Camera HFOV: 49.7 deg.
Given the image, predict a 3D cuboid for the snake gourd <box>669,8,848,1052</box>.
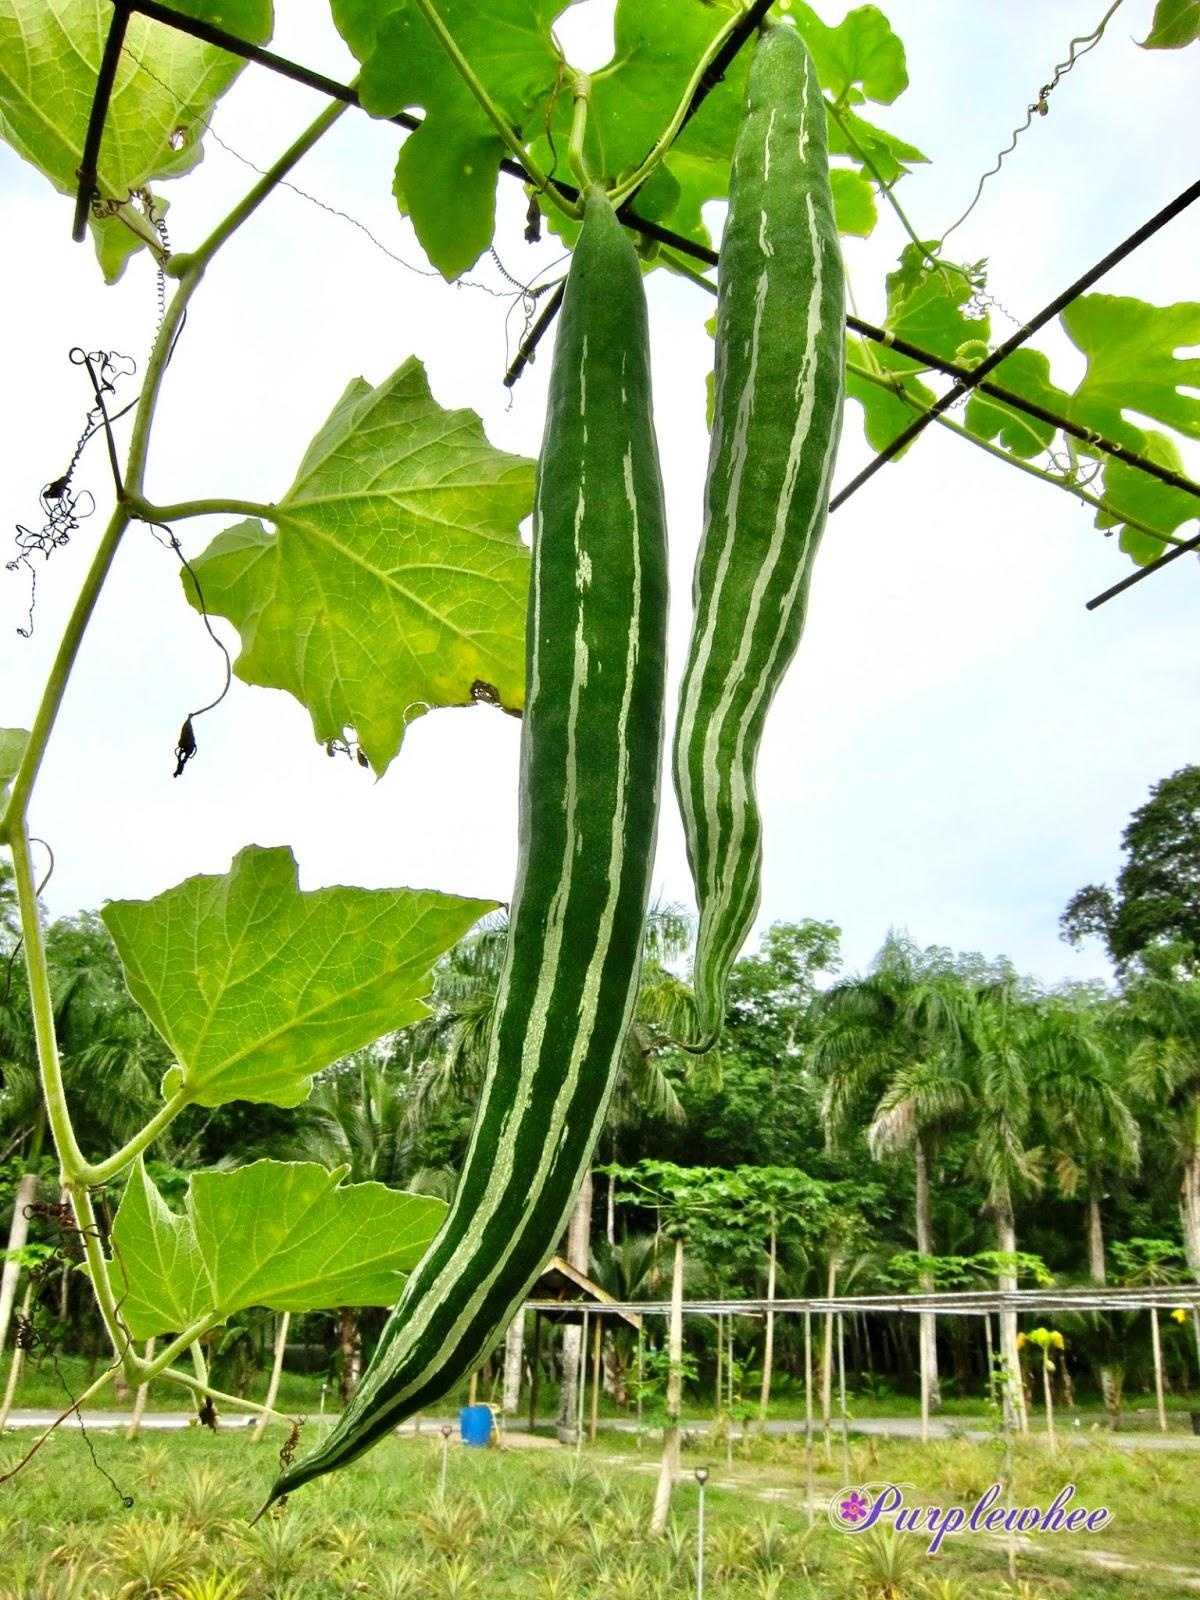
[{"bbox_3d":[0.090,-0.221,0.697,0.088,0.737,0.153,-1,-21,10],"label":"snake gourd"}]
